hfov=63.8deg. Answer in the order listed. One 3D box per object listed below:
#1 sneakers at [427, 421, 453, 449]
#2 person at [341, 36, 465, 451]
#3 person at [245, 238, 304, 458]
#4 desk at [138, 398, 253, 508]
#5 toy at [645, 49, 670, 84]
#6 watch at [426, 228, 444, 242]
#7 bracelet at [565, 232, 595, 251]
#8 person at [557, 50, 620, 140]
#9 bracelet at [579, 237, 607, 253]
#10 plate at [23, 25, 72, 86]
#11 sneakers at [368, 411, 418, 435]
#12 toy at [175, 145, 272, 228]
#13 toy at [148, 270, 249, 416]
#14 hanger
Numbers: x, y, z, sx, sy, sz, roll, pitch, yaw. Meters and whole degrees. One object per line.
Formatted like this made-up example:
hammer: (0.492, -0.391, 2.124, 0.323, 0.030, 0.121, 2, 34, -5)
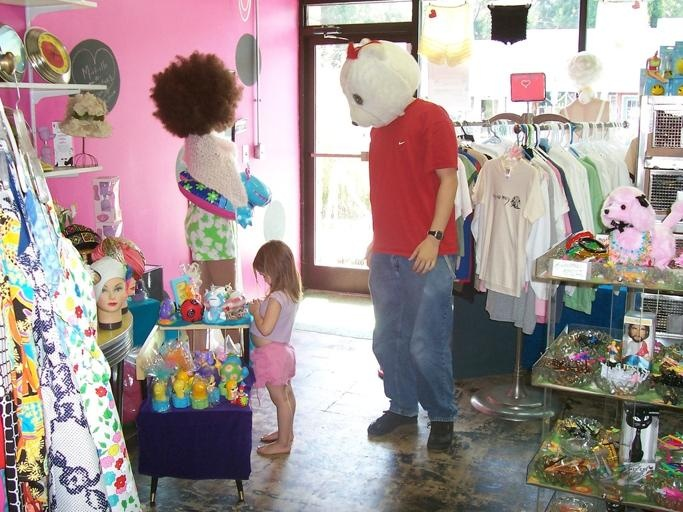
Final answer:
sneakers: (0.551, 1.003, 3.083, 0.071, 0.105, 0.227, 0, -2, 15)
person: (0.339, -0.044, 3.040, 0.638, 2.209, 0.357, 7, 13, 31)
person: (-0.346, 0.507, 2.897, 0.262, 1.164, 0.152, -1, 11, -9)
desk: (-0.688, 0.836, 2.557, 0.392, 0.387, 0.411, 1, 0, -24)
toy: (1.691, -1.016, 2.958, 0.112, 0.166, 0.126, 1, 11, 3)
watch: (0.475, -0.106, 2.784, 0.067, 0.050, 0.075, 6, -8, 32)
bracelet: (0.912, -0.045, 2.143, 0.069, 0.031, 0.095, -18, 12, -5)
person: (1.996, -1.148, 4.453, 0.351, 0.929, 0.289, -6, 22, 21)
bracelet: (0.943, -0.038, 2.064, 0.074, 0.059, 0.027, 14, -18, 11)
plate: (-1.664, -1.134, 3.114, 0.090, 0.294, 0.267, 5, 12, 23)
sneakers: (0.303, 0.980, 3.317, 0.315, 0.156, 0.123, -1, 8, -23)
toy: (-0.758, -0.391, 3.621, 0.594, 0.442, 0.223, 33, 33, -29)
toy: (-0.679, 0.517, 3.045, 0.474, 1.001, 0.660, 1, -14, -4)
hanger: (1.362, -0.817, 3.796, 1.407, 0.245, 0.760, -9, 16, -36)
